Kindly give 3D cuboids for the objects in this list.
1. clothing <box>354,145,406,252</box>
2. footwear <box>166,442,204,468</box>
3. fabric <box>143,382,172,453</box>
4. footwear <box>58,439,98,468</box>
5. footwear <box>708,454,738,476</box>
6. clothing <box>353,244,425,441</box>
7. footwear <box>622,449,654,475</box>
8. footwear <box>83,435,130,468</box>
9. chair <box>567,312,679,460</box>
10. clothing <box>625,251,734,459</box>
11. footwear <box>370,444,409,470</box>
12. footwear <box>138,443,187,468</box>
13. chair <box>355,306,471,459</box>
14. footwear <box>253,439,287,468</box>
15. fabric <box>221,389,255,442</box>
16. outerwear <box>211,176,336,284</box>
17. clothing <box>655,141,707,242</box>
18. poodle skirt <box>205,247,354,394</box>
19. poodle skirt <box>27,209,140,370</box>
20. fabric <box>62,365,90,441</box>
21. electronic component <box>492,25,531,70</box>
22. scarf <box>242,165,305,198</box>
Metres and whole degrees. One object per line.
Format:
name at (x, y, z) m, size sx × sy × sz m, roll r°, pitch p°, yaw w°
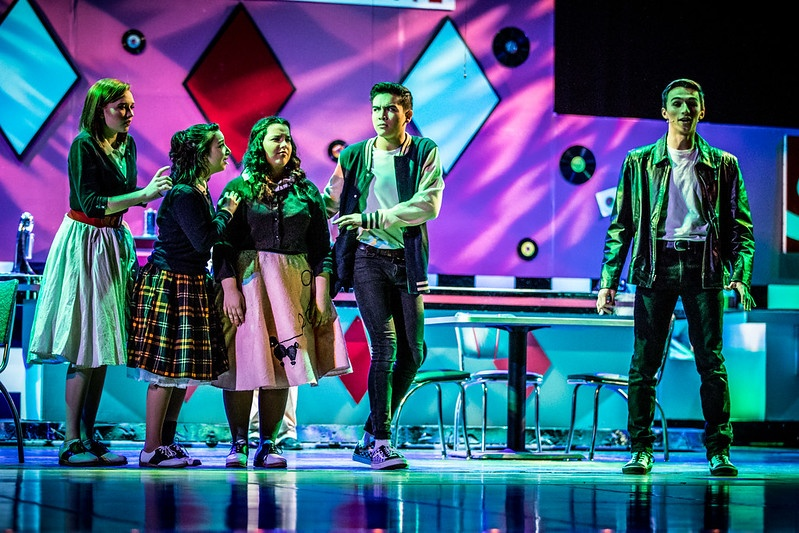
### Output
clothing at (-0.122, -0.410, 5.256) m, size 0.314 × 0.545 × 0.132 m, roll 1°, pitch -5°, yaw 5°
footwear at (-1.243, 1.065, 5.227) m, size 0.246 × 0.103 × 0.085 m, roll 4°, pitch -2°, yaw 26°
fabric at (-1.354, 0.899, 5.176) m, size 0.103 × 0.429 × 0.191 m, roll -13°, pitch -22°, yaw 30°
footwear at (-1.801, 1.060, 5.173) m, size 0.230 × 0.097 × 0.125 m, roll -5°, pitch -7°, yaw 35°
footwear at (1.866, 1.140, 5.285) m, size 0.143 × 0.132 × 0.138 m, roll -5°, pitch -16°, yaw 17°
clothing at (-0.127, 0.444, 5.477) m, size 0.488 × 1.169 × 0.440 m, roll 10°, pitch -21°, yaw -41°
footwear at (1.382, 1.138, 5.325) m, size 0.169 × 0.136 × 0.169 m, roll -3°, pitch -16°, yaw 12°
footwear at (-1.661, 1.043, 5.280) m, size 0.328 × 0.125 × 0.113 m, roll 16°, pitch 4°, yaw 16°
chair at (1.641, 0.881, 6.810) m, size 0.765 × 1.023 × 0.648 m, roll 3°, pitch -8°, yaw -13°
clothing at (1.637, 0.500, 5.387) m, size 0.592 × 1.196 × 0.433 m, roll -1°, pitch -16°, yaw 6°
footwear at (-0.049, 1.097, 5.241) m, size 0.106 × 0.093 × 0.220 m, roll 8°, pitch -12°, yaw -42°
footwear at (-1.316, 1.073, 5.144) m, size 0.296 × 0.116 × 0.104 m, roll 0°, pitch -8°, yaw 0°
chair at (0.176, 0.960, 6.925) m, size 0.914 × 1.336 × 0.815 m, roll -6°, pitch -10°, yaw 28°
footwear at (-0.732, 1.072, 5.241) m, size 0.173 × 0.162 × 0.236 m, roll 4°, pitch -16°, yaw -11°
fabric at (-0.926, 0.906, 5.361) m, size 0.149 × 0.472 × 0.194 m, roll 0°, pitch 23°, yaw -6°
outerwear at (-0.726, -0.195, 5.275) m, size 0.640 × 0.607 × 0.305 m, roll 2°, pitch -6°, yaw -15°
clothing at (1.662, -0.425, 5.391) m, size 0.253 × 0.551 × 0.104 m, roll -3°, pitch -16°, yaw 14°
poodle skirt at (-0.706, 0.283, 5.249) m, size 0.490 × 0.804 × 0.857 m, roll -13°, pitch -8°, yaw 42°
poodle skirt at (-1.801, 0.143, 5.293) m, size 0.509 × 0.868 × 0.228 m, roll 7°, pitch -17°, yaw -22°
fabric at (-1.837, 0.784, 5.236) m, size 0.114 × 0.417 × 0.129 m, roll 9°, pitch -17°, yaw -26°
electronic component at (0.970, -1.893, 7.916) m, size 0.320 × 0.340 × 0.108 m, roll -1°, pitch -16°, yaw 4°
scarf at (-0.719, -0.470, 5.340) m, size 0.215 × 0.103 × 0.245 m, roll 1°, pitch 23°, yaw 4°
